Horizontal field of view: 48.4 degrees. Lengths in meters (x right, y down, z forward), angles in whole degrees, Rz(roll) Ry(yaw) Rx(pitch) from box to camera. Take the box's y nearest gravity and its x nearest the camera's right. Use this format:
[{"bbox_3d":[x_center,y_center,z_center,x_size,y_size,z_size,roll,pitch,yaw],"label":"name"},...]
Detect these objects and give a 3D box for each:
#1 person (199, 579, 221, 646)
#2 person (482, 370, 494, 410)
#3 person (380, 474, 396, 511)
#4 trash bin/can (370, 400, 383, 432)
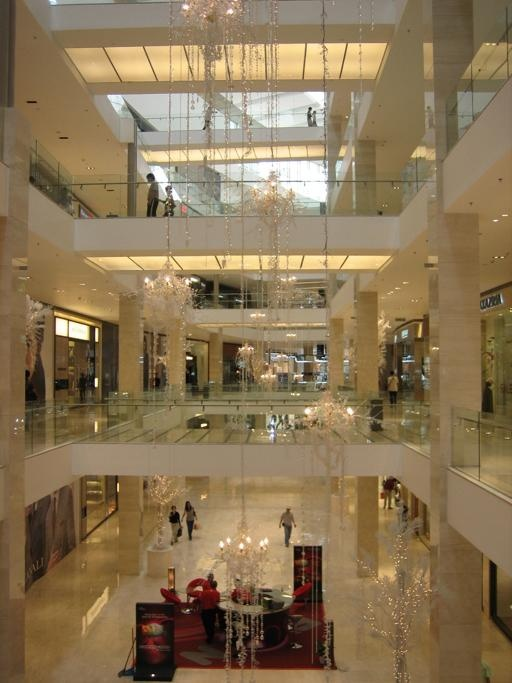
[{"bbox_3d":[-0.700,4.165,8.686,0.290,0.888,0.685,0,-5,-4],"label":"person"},{"bbox_3d":[3.997,0.905,9.855,0.179,0.579,1.886,-3,-6,22],"label":"person"},{"bbox_3d":[3.655,4.124,15.670,0.467,0.972,1.458,-2,-6,12],"label":"person"},{"bbox_3d":[2.079,1.282,9.884,0.215,0.558,0.171,-2,-5,13],"label":"trash bin/can"}]
